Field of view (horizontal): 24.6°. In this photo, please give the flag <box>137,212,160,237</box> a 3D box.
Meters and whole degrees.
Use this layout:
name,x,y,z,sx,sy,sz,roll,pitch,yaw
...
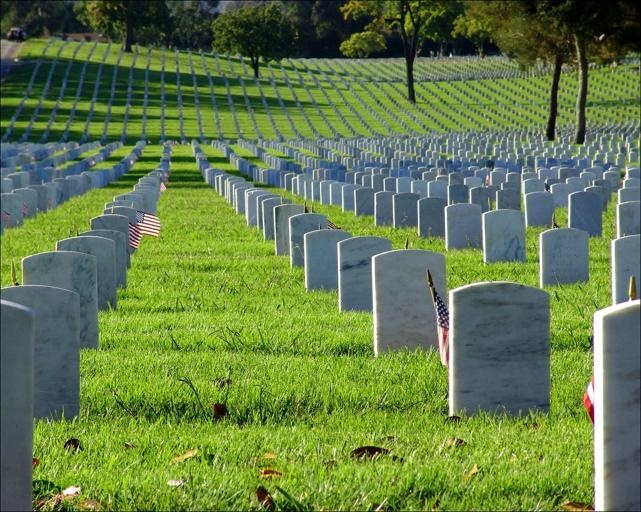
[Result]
name,x,y,z,sx,sy,sz,roll,pitch,yaw
flag,-5.593,-0.970,46.284,0.643,0.600,0.054,16,-21,-27

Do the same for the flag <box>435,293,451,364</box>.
name,x,y,z,sx,sy,sz,roll,pitch,yaw
flag,3.322,2.022,40.358,0.371,2.033,1.182,-2,3,-9

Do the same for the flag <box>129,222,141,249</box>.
name,x,y,z,sx,sy,sz,roll,pitch,yaw
flag,-5.884,-0.642,45.489,0.378,0.789,1.262,-2,3,-7
